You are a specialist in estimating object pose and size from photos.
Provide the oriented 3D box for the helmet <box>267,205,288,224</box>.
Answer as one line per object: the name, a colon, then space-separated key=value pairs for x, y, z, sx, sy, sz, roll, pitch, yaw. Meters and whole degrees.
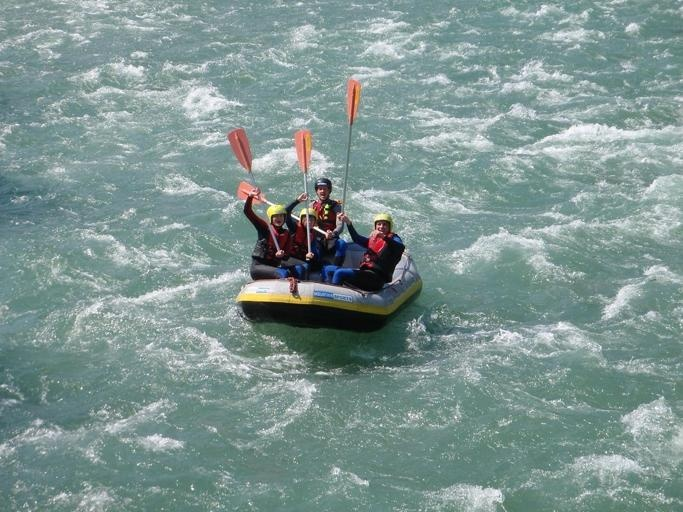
helmet: x=-1.361 y=-0.933 z=23.984 sx=0.348 sy=0.389 sz=0.324 roll=1 pitch=58 yaw=-10

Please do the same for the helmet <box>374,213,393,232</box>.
helmet: x=0.892 y=-0.730 z=23.729 sx=0.368 sy=0.301 sz=0.404 roll=2 pitch=17 yaw=7

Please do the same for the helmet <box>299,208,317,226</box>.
helmet: x=-0.697 y=-0.866 z=24.357 sx=0.336 sy=0.361 sz=0.334 roll=6 pitch=42 yaw=-3

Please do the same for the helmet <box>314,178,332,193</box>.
helmet: x=-0.392 y=-1.596 z=24.862 sx=0.303 sy=0.247 sz=0.359 roll=2 pitch=-17 yaw=0
